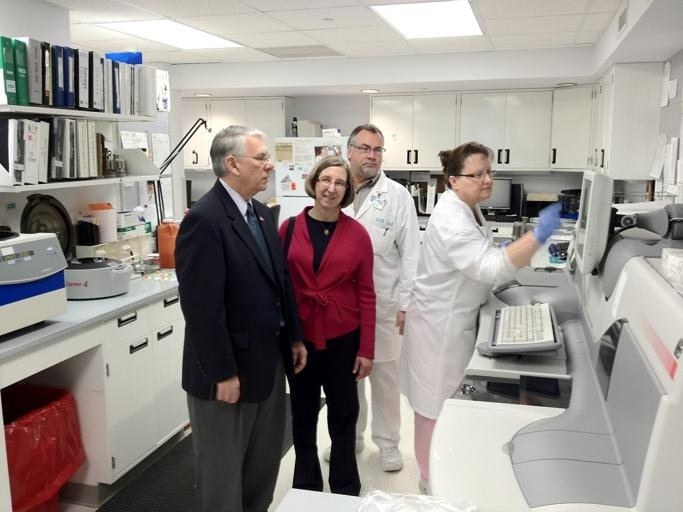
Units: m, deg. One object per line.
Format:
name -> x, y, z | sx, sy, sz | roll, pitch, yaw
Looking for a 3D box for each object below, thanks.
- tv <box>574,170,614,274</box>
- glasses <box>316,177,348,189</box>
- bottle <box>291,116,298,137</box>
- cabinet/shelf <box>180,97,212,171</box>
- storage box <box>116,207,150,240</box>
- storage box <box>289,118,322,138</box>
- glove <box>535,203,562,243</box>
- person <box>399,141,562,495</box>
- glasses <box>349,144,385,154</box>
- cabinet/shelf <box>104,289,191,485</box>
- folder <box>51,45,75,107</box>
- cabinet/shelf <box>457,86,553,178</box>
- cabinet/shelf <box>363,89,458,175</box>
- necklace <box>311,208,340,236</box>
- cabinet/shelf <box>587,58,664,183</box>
tv -> 0.930, -0.111, 1.686 | 0.111, 0.393, 0.349 | 7, 14, 27
glasses -> -0.040, -0.333, 2.061 | 0.133, 0.041, 0.068 | 0, 13, -4
bottle -> -0.727, -1.959, 6.981 | 0.090, 0.342, 0.127 | 3, 10, 10
cabinet/shelf -> -2.528, -2.001, 7.403 | 0.579, 1.151, 0.557 | 8, 10, 14
storage box -> -1.454, -0.226, 3.178 | 0.099, 0.193, 0.299 | 4, 13, 14
storage box -> -0.531, -1.913, 6.922 | 0.345, 0.247, 0.359 | 4, 15, 14
glove -> 0.789, -0.109, 1.727 | 0.041, 0.146, 0.105 | 19, -1, -24
person -> 0.536, 0.404, 2.159 | 0.488, 1.829, 0.813 | -4, 13, -21
glasses -> 0.139, -0.607, 2.594 | 0.184, 0.051, 0.085 | 1, 13, -4
cabinet/shelf -> -1.263, 0.698, 2.721 | 0.323, 0.886, 0.920 | -2, 3, 3
folder -> -1.517, -0.969, 2.486 | 0.046, 0.317, 0.165 | 3, 13, 10
cabinet/shelf -> 2.201, -1.626, 6.243 | 1.133, 1.096, 0.434 | 3, -6, 12
cabinet/shelf -> 1.077, -1.833, 6.608 | 1.171, 1.112, 0.425 | 8, 34, 23
necklace -> -0.087, -0.147, 2.152 | 0.158, 0.131, 0.091 | 1, 12, -1
cabinet/shelf -> 2.794, -1.368, 4.733 | 0.344, 1.010, 1.045 | 1, 10, 15
